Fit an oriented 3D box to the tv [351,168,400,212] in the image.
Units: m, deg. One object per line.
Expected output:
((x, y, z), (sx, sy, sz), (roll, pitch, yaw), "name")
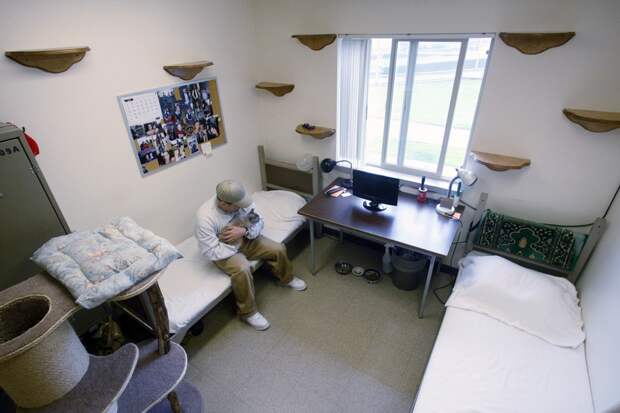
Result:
((0.665, -0.138, 4.282), (0.417, 0.314, 0.134), (15, 43, 25), "tv")

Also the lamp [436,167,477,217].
((1.433, -0.141, 4.134), (0.312, 0.472, 0.207), (15, 24, 23), "lamp")

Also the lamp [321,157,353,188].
((0.307, -0.364, 4.625), (0.403, 0.193, 0.411), (-3, 53, 8), "lamp")

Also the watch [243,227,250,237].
((-0.639, 0.279, 4.233), (0.072, 0.093, 0.084), (-4, -12, 29), "watch")

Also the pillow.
((1.839, 0.862, 3.635), (0.831, 0.205, 0.781), (16, 56, 24), "pillow")

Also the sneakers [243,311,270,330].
((-0.544, 1.150, 4.139), (0.266, 0.100, 0.138), (21, 43, 17), "sneakers")

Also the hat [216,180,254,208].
((-0.729, -0.083, 4.011), (0.327, 0.151, 0.218), (23, 55, 1), "hat")

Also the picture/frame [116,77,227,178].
((-1.416, -0.797, 4.136), (0.015, 0.714, 0.980), (22, 41, 37), "picture/frame")

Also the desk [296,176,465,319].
((0.696, 0.837, 4.687), (1.892, 1.226, 1.178), (15, 42, 21), "desk")

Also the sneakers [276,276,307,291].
((-0.198, 0.849, 4.523), (0.308, 0.136, 0.130), (3, 38, 9), "sneakers")

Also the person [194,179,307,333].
((-0.631, 0.411, 4.174), (0.800, 1.326, 0.744), (17, 34, 30), "person")
